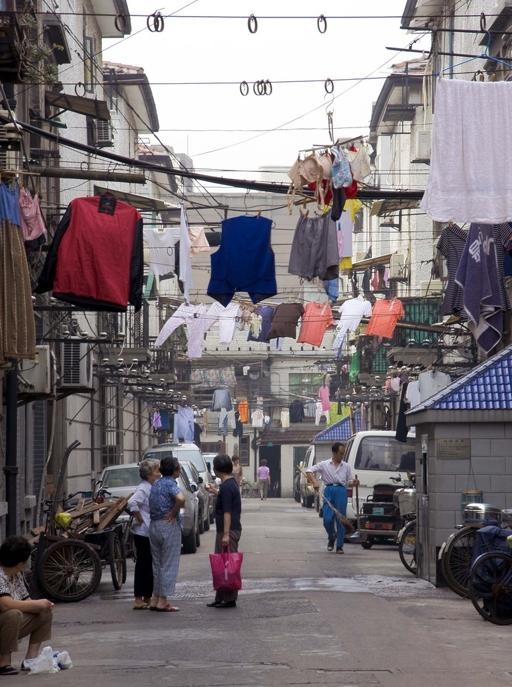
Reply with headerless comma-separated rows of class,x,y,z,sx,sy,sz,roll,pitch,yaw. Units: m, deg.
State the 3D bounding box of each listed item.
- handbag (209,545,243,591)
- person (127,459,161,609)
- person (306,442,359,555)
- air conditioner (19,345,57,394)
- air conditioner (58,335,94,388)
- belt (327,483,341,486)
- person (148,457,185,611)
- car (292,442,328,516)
handbag,-0.325,2.374,17.142,0.322,0.414,0.283,2,-5,-2
person,-1.145,2.032,17.636,0.398,1.552,0.430,-6,-10,36
person,1.139,2.275,24.453,0.517,1.669,0.787,0,-2,-12
air conditioner,-2.841,0.393,21.312,0.471,0.728,0.929,0,-3,-3
air conditioner,-2.813,0.348,25.389,0.506,0.762,0.767,3,-6,-9
belt,1.153,2.095,24.465,0.172,0.057,0.074,4,-6,-8
person,-0.966,1.994,17.219,0.333,1.605,0.474,2,-5,-5
car,1.429,3.644,44.851,1.072,2.543,1.192,0,-3,-29
